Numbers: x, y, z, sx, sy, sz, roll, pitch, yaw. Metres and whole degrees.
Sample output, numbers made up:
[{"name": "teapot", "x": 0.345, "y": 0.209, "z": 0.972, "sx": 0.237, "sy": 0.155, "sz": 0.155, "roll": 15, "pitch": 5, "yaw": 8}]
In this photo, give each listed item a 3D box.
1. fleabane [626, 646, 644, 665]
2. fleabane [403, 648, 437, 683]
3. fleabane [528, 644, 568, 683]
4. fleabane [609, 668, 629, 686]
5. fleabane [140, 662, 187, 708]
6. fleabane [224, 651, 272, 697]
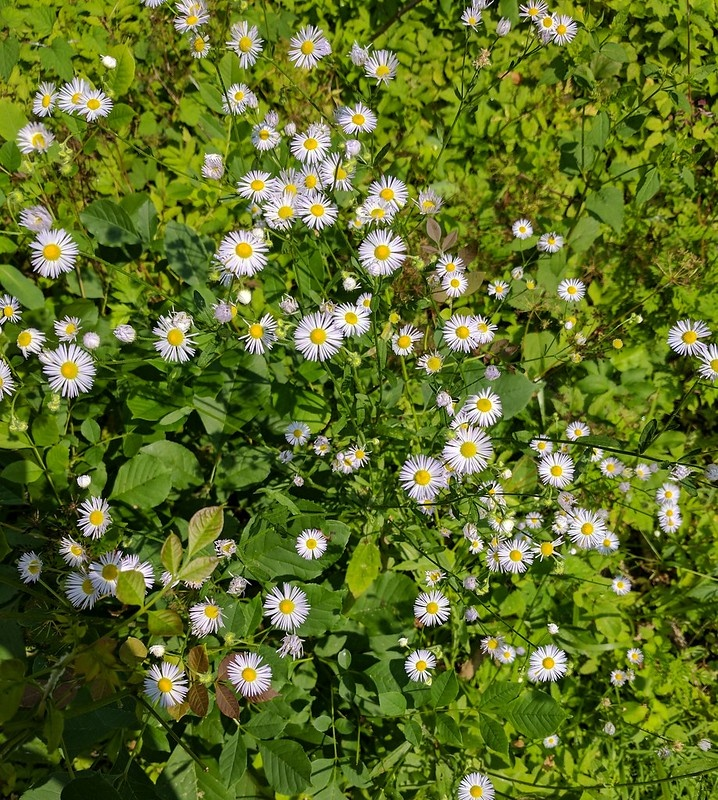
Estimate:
[{"name": "fleabane", "x": 1.062, "y": 0.990, "z": 3.132, "sx": 0.062, "sy": 0.024, "sz": 0.064, "roll": 4, "pitch": 71, "yaw": -9}, {"name": "fleabane", "x": 0.201, "y": 0.899, "z": 2.747, "sx": 0.092, "sy": 0.065, "sz": 0.107, "roll": 13, "pitch": 70, "yaw": -6}, {"name": "fleabane", "x": 0.702, "y": 0.992, "z": 3.050, "sx": 0.203, "sy": 0.219, "sz": 0.132, "roll": 4, "pitch": 71, "yaw": -9}, {"name": "fleabane", "x": 0.988, "y": 1.055, "z": 3.093, "sx": 0.069, "sy": 0.026, "sz": 0.064, "roll": -6, "pitch": 85, "yaw": -18}, {"name": "fleabane", "x": -0.593, "y": 0.869, "z": 2.485, "sx": 0.124, "sy": 0.107, "sz": 0.131, "roll": -2, "pitch": 72, "yaw": -11}, {"name": "fleabane", "x": -0.349, "y": 0.857, "z": 2.556, "sx": 0.142, "sy": 0.030, "sz": 0.138, "roll": -16, "pitch": 88, "yaw": -40}]
